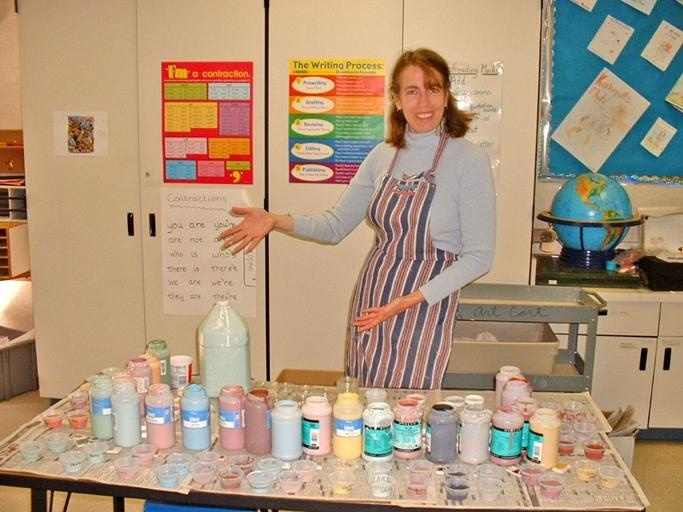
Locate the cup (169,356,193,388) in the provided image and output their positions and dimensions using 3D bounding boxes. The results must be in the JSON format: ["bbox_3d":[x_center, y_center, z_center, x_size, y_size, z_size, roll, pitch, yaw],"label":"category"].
[{"bbox_3d":[-0.559,0.405,2.105,0.099,0.079,0.102,2,7,0],"label":"cup"}]

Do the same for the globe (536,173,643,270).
[{"bbox_3d":[1.495,-0.212,3.655,0.596,0.543,0.577,1,11,0],"label":"globe"}]

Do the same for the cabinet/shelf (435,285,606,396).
[{"bbox_3d":[0.751,0.416,2.728,0.773,0.457,0.433,0,6,11],"label":"cabinet/shelf"}]

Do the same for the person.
[{"bbox_3d":[0.161,-0.135,2.265,0.771,1.261,0.505,4,7,36],"label":"person"}]
